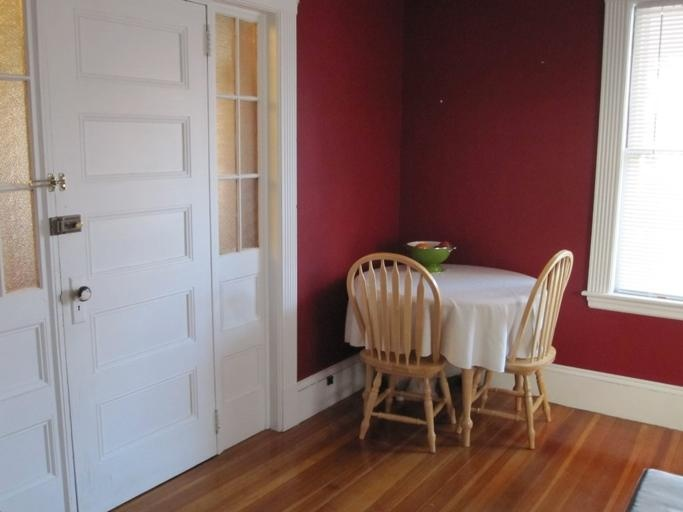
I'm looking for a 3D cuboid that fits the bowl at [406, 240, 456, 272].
[{"bbox_3d":[0.619,-0.019,3.725,0.288,0.179,0.230,0,-2,-2],"label":"bowl"}]

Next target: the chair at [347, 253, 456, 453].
[{"bbox_3d":[0.401,0.550,3.299,0.636,1.259,0.571,6,14,43],"label":"chair"}]

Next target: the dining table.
[{"bbox_3d":[0.694,0.571,3.585,1.004,0.942,1.010,-12,22,-33],"label":"dining table"}]
